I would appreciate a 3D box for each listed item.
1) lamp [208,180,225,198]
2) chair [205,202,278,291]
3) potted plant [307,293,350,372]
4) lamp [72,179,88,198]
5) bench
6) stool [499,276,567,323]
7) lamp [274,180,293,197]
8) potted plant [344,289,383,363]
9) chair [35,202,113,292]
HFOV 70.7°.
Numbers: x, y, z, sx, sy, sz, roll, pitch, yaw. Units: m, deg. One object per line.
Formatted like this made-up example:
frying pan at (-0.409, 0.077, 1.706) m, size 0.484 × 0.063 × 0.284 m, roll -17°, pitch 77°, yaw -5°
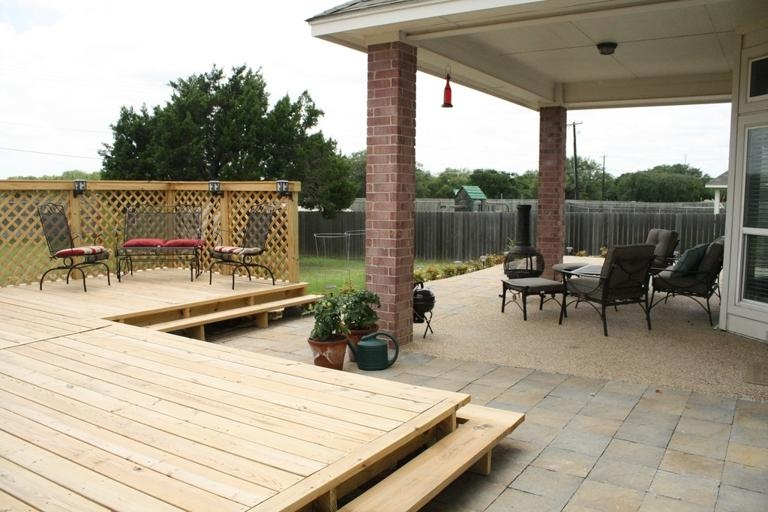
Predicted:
lamp at (-2.915, -1.155, 9.291) m, size 0.322 × 0.254 × 0.293 m, roll 2°, pitch 3°, yaw 2°
chair at (-2.225, -0.163, 8.563) m, size 1.012 × 1.137 × 0.936 m, roll -7°, pitch 10°, yaw -28°
potted plant at (-0.626, 0.888, 6.067) m, size 0.441 × 0.789 × 0.624 m, roll -3°, pitch 6°, yaw -4°
lamp at (-4.880, -1.089, 8.742) m, size 0.203 × 0.263 × 0.275 m, roll -3°, pitch 6°, yaw -4°
bench at (-3.718, -0.286, 9.206) m, size 1.486 × 1.065 × 0.874 m, roll 0°, pitch 20°, yaw 1°
stool at (2.305, 0.506, 8.307) m, size 0.798 × 0.530 × 0.956 m, roll -5°, pitch 8°, yaw -22°
lamp at (-1.581, -1.069, 8.586) m, size 0.292 × 0.236 × 0.270 m, roll 0°, pitch 4°, yaw 9°
potted plant at (-0.212, 0.869, 6.464) m, size 0.401 × 0.537 × 0.312 m, roll -8°, pitch 4°, yaw -18°
chair at (-4.779, -0.170, 8.215) m, size 0.914 × 1.283 × 1.365 m, roll -6°, pitch 7°, yaw -32°
